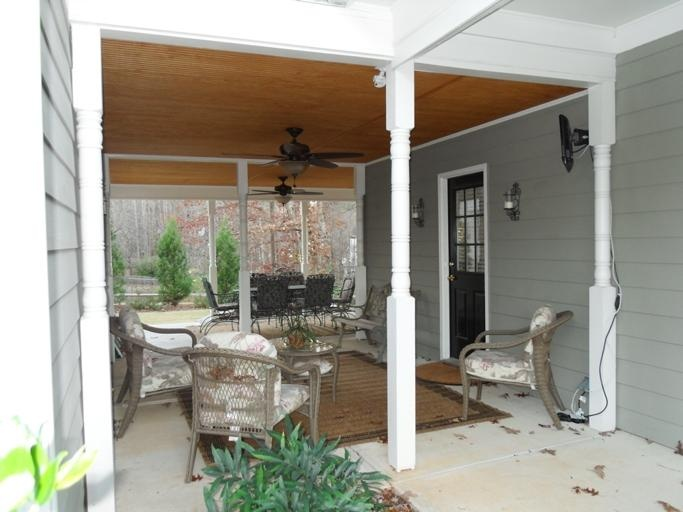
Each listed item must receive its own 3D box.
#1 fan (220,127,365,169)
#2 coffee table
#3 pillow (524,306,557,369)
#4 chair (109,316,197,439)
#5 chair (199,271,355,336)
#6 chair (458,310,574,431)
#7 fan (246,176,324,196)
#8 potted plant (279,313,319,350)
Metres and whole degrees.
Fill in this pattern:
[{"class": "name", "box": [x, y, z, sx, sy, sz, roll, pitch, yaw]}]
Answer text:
[{"class": "fan", "box": [-0.422, -1.122, 5.601, 1.079, 0.348, 0.937, 0, -6, -1]}, {"class": "coffee table", "box": [-0.307, 1.215, 4.902, 0.622, 0.658, 0.658, 4, 0, -27]}, {"class": "pillow", "box": [1.827, 0.678, 4.376, 0.234, 0.427, 0.406, 0, 3, 28]}, {"class": "chair", "box": [-1.827, 1.031, 4.527, 1.069, 1.185, 0.983, 0, 0, -21]}, {"class": "chair", "box": [-1.729, 0.947, 10.268, 3.256, 1.179, 1.939, 4, 0, -24]}, {"class": "chair", "box": [1.669, 1.001, 4.610, 0.978, 0.952, 0.799, -1, 1, 23]}, {"class": "fan", "box": [-1.172, -1.478, 9.937, 0.866, 0.313, 0.862, 3, 4, 30]}, {"class": "potted plant", "box": [-0.421, 0.769, 4.892, 0.383, 0.249, 0.308, -1, 2, -32]}]
